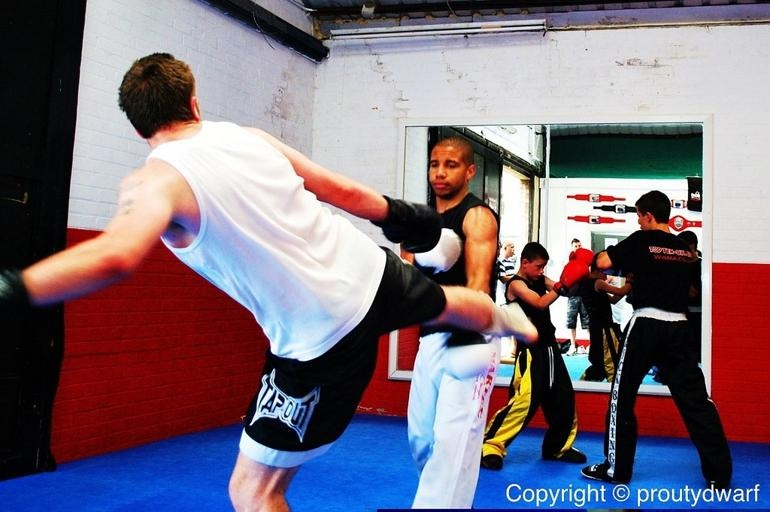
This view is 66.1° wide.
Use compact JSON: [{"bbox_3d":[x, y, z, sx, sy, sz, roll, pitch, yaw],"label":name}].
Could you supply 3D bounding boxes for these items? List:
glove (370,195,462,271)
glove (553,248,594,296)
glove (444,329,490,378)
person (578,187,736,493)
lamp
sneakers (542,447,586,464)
[{"bbox_3d":[0.206,-0.121,3.280,0.495,0.344,0.202,34,25,-12],"label":"glove"},{"bbox_3d":[1.663,0.115,5.179,0.263,0.459,0.180,43,2,25],"label":"glove"},{"bbox_3d":[0.490,0.574,3.507,0.267,0.195,0.269,18,-3,32],"label":"glove"},{"bbox_3d":[2.184,0.645,4.722,1.033,2.318,0.639,5,6,11],"label":"person"},{"bbox_3d":[0.699,-2.597,6.762,1.975,0.319,0.097,1,-3,9],"label":"lamp"},{"bbox_3d":[1.583,1.754,5.265,0.381,0.150,0.136,-3,-3,10],"label":"sneakers"}]
